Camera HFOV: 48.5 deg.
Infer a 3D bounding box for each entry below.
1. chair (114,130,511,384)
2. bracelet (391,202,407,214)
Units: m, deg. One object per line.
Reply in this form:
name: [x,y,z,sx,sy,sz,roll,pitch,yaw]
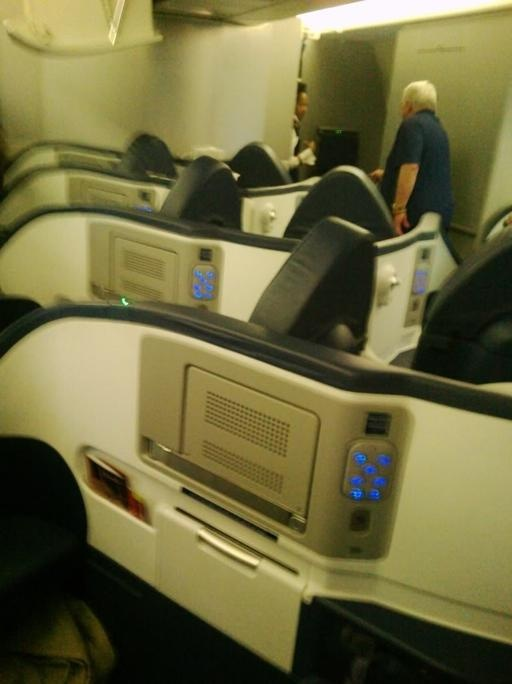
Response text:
chair: [0.079,-0.279,1.225,0.673,0.405,0.374,22,33,32]
bracelet: [0.232,-0.219,0.924,0.019,0.014,0.012,-18,17,-22]
